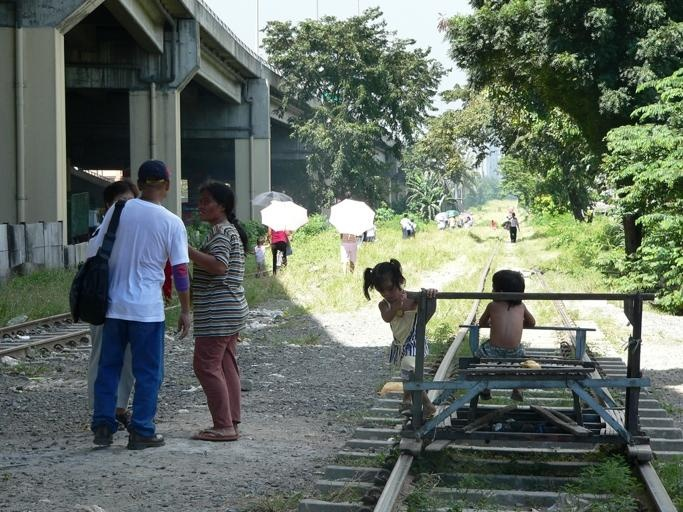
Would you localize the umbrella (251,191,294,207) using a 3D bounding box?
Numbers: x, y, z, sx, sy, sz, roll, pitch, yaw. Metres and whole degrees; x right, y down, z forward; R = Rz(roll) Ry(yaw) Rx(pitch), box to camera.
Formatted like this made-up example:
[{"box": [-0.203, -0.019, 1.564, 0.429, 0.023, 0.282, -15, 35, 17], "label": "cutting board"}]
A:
[{"box": [-2.325, -1.861, 25.199, 1.174, 0.513, 1.264, -2, -3, 9], "label": "umbrella"}]

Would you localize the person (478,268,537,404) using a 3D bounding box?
[{"box": [1.717, 0.843, 7.982, 0.561, 1.411, 1.041, 1, 1, 13], "label": "person"}]

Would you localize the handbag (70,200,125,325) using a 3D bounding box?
[{"box": [-2.270, 0.055, 7.200, 0.502, 1.158, 0.280, 0, 1, -15], "label": "handbag"}]

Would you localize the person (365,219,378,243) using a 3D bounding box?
[{"box": [1.315, -0.938, 34.739, 0.532, 1.275, 0.759, 3, -42, 9], "label": "person"}]

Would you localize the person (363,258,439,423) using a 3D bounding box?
[{"box": [0.587, 0.833, 7.713, 0.738, 1.607, 1.185, 1, 1, 1], "label": "person"}]

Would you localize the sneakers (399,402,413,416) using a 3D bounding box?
[{"box": [0.693, 1.609, 8.130, 0.172, 0.189, 0.091, -2, -4, 9], "label": "sneakers"}]

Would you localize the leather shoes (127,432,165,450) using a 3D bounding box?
[{"box": [-1.845, 1.739, 7.315, 0.352, 0.175, 0.138, -4, 7, -28], "label": "leather shoes"}]

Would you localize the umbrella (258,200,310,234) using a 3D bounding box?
[{"box": [-1.724, -1.167, 22.886, 1.180, 0.899, 1.506, 1, 2, 25], "label": "umbrella"}]

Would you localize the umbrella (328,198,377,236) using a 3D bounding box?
[{"box": [0.290, -1.057, 21.338, 1.124, 0.998, 1.274, 1, 1, 3], "label": "umbrella"}]

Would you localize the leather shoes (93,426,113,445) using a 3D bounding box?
[{"box": [-2.241, 1.682, 7.251, 0.101, 0.126, 0.246, 1, 2, -1], "label": "leather shoes"}]

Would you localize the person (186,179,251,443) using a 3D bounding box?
[{"box": [-1.228, 0.545, 7.645, 0.671, 2.569, 0.445, 0, 1, -35], "label": "person"}]
